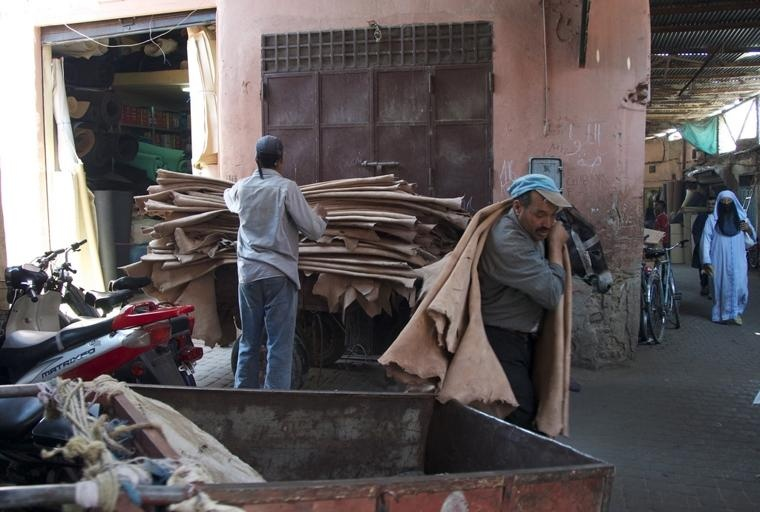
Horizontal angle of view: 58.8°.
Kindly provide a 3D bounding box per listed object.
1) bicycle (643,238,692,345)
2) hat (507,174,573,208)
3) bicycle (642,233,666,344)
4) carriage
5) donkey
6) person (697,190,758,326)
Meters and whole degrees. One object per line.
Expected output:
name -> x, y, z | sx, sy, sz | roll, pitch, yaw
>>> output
bicycle -> 4.892, 0.554, 11.749 | 0.850, 1.600, 2.511 | -6, 1, 32
hat -> 1.426, -0.595, 6.032 | 0.422, 0.254, 0.317 | 5, 5, 15
bicycle -> 4.440, 0.618, 11.007 | 0.563, 1.437, 2.426 | 1, 3, 28
carriage -> 0.410, 0.191, 7.464 | 3.910, 2.081, 2.226 | -2, -3, 13
donkey -> 1.891, -0.022, 6.246 | 0.261, 0.809, 0.486 | -18, -4, -19
person -> 6.388, 0.016, 12.435 | 0.831, 2.408, 0.909 | 0, 6, 31
